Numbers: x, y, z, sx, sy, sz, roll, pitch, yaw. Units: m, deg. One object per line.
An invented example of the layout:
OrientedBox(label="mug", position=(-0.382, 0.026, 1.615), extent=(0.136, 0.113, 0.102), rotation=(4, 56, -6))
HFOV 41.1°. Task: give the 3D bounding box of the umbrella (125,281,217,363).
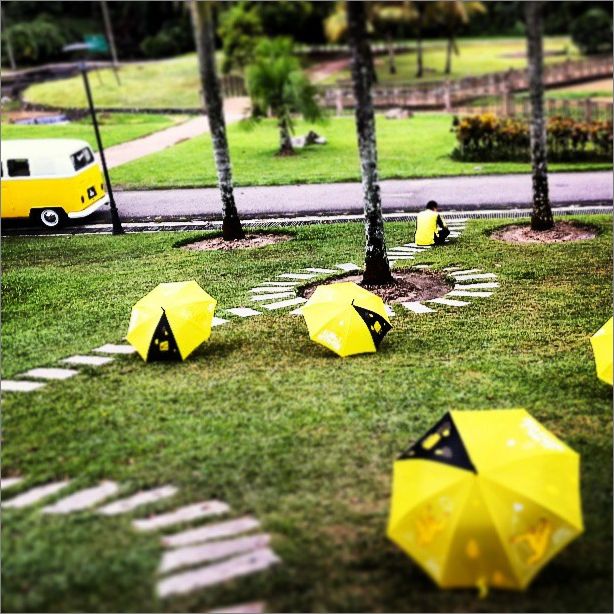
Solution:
OrientedBox(label="umbrella", position=(-1.888, 0.231, 11.537), extent=(1.047, 1.072, 0.521), rotation=(-38, -1, -4))

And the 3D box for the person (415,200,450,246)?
OrientedBox(label="person", position=(2.473, -1.607, 16.274), extent=(0.645, 0.898, 0.471), rotation=(-5, 15, 7))
